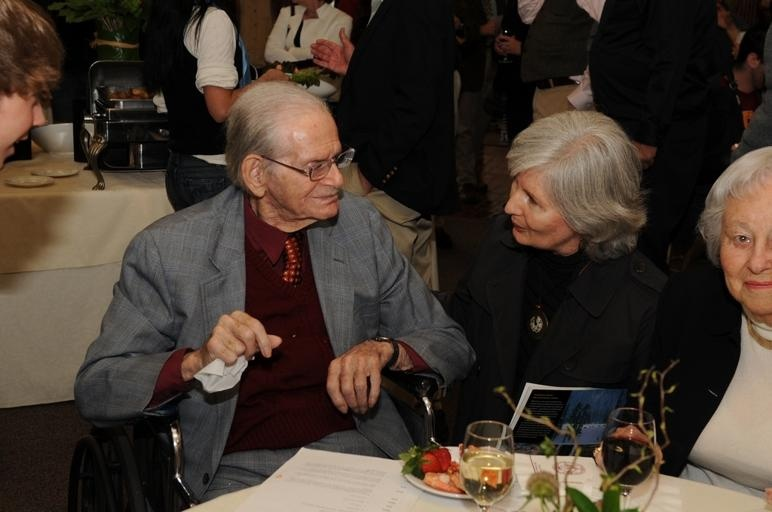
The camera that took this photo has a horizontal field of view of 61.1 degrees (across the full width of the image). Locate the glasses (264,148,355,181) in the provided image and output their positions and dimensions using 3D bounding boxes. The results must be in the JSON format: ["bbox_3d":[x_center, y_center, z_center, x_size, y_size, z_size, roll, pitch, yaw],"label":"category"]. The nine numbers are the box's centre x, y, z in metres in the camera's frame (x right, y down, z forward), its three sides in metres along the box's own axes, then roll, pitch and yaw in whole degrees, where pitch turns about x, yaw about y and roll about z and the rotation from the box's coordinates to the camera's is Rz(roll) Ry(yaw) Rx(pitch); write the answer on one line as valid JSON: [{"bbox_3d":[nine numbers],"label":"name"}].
[{"bbox_3d":[-0.231,-0.325,2.329,0.183,0.053,0.182,19,26,34],"label":"glasses"}]

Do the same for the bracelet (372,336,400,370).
[{"bbox_3d":[0.009,0.357,2.376,0.110,0.106,0.043,23,52,31],"label":"bracelet"}]

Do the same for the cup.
[{"bbox_3d":[0.260,0.565,1.712,0.131,0.229,0.163,5,20,7],"label":"cup"}]

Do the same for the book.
[{"bbox_3d":[0.587,0.532,2.103,0.486,0.326,0.047,3,42,-14],"label":"book"}]

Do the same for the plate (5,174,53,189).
[{"bbox_3d":[-1.912,-0.417,3.534,0.213,0.044,0.284,-2,19,-14],"label":"plate"}]

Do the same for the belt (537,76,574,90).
[{"bbox_3d":[1.099,-1.135,4.261,0.098,0.072,0.099,-20,22,-35],"label":"belt"}]

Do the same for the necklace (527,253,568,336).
[{"bbox_3d":[0.627,0.150,2.589,0.092,0.285,0.215,15,-4,-38],"label":"necklace"}]
